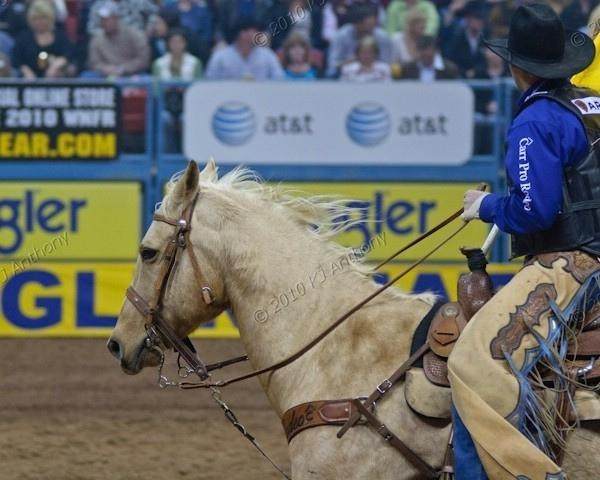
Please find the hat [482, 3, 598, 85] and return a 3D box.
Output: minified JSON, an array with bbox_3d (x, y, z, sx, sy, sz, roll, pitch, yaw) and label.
[{"bbox_3d":[2.052,-1.638,16.575,0.634,0.301,0.736,-30,47,-20],"label":"hat"}]
